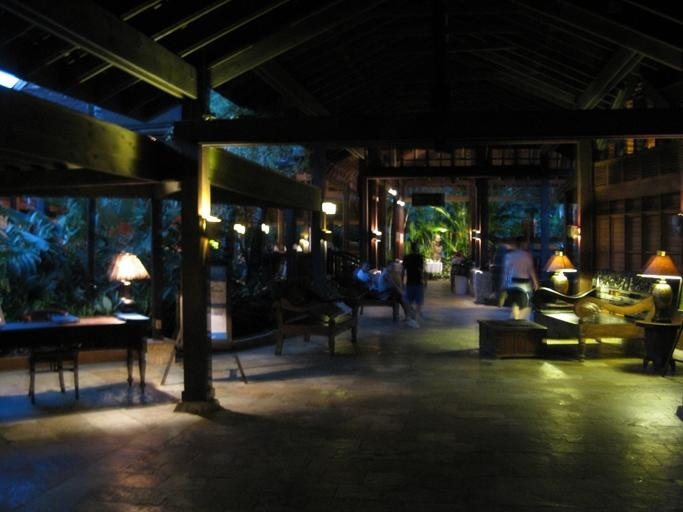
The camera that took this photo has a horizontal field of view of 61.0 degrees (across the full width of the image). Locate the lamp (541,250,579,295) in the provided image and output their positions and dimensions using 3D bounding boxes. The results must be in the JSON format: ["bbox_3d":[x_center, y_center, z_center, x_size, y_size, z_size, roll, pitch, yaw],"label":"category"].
[{"bbox_3d":[4.692,0.369,12.493,0.648,0.908,0.591,-3,-3,31],"label":"lamp"}]

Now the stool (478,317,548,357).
[{"bbox_3d":[2.959,1.445,10.203,0.733,0.396,0.757,0,1,5],"label":"stool"}]

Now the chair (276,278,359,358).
[{"bbox_3d":[-0.451,1.147,11.187,1.165,1.351,2.062,0,0,14],"label":"chair"}]

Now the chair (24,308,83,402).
[{"bbox_3d":[-4.096,1.342,8.019,0.770,1.225,0.711,-1,-1,37],"label":"chair"}]
